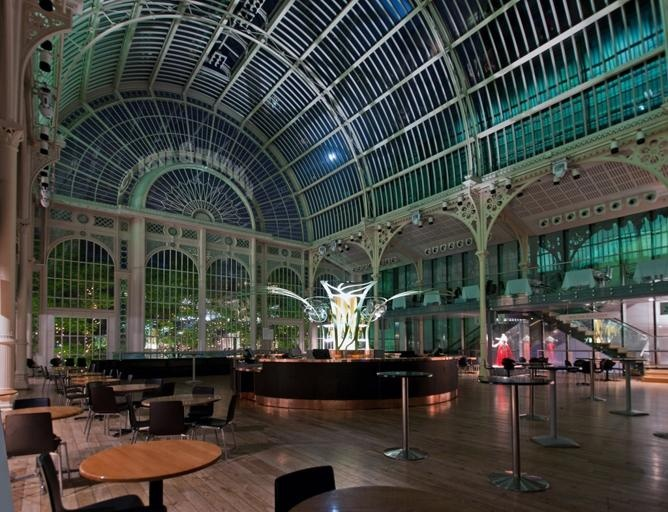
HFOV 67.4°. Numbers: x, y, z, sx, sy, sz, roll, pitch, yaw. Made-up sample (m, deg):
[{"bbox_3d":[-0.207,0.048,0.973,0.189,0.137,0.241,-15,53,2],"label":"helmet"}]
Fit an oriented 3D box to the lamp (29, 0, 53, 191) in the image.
[{"bbox_3d":[-8.627,-4.786,14.702,0.686,4.610,0.336,5,2,-15],"label":"lamp"}]
